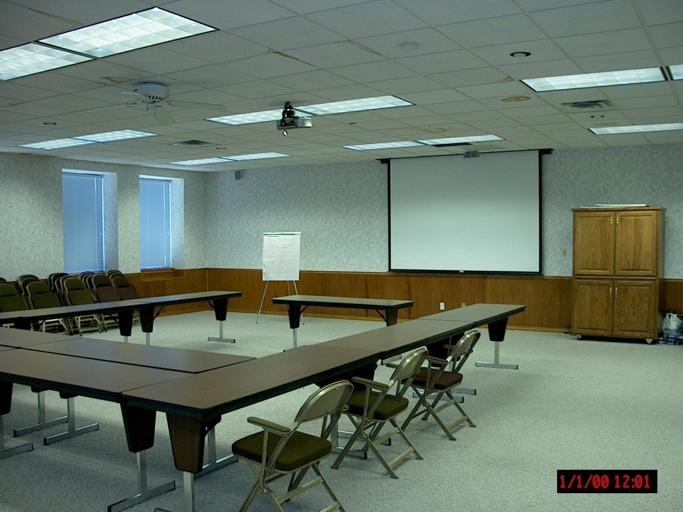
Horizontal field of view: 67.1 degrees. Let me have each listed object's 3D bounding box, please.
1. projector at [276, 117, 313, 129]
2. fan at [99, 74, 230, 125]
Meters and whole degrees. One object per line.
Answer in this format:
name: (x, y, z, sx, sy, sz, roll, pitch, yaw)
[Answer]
projector: (-0.632, -1.696, 6.637, 0.312, 0.084, 0.283, 2, 4, 28)
fan: (-2.090, -1.799, 5.809, 0.794, 0.101, 0.753, -1, -1, -42)
